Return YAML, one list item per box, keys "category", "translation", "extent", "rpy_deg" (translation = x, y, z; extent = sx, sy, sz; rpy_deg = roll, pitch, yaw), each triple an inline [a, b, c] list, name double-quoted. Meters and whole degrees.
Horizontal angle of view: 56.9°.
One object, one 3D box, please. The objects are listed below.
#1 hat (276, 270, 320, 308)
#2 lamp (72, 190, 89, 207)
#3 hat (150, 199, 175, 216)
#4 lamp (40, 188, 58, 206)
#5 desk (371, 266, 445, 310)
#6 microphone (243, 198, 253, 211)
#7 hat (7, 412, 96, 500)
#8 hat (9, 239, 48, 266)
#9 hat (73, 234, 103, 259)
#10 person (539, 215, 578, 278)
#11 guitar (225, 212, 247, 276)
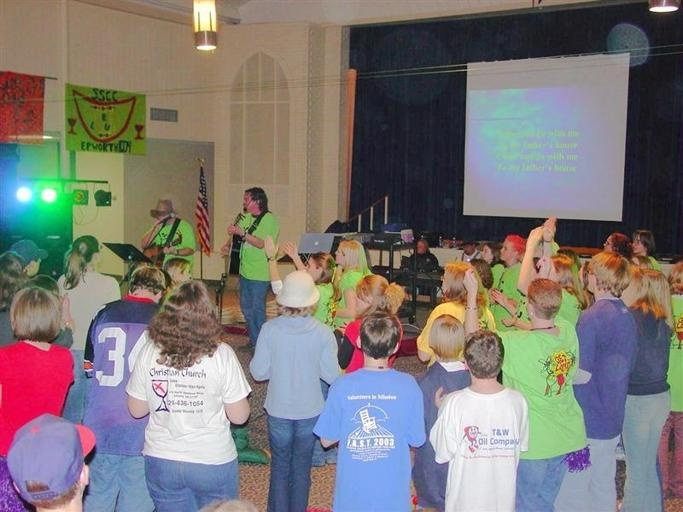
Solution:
- category: "hat"
  translation: [-0.342, 0.241, 4.620]
  extent: [0.297, 0.245, 0.290]
  rpy_deg: [2, 5, -8]
- category: "lamp"
  translation: [-4.883, -1.088, 11.726]
  extent: [0.210, 0.267, 1.287]
  rpy_deg: [1, 6, -19]
- category: "hat"
  translation: [-2.282, -0.603, 8.148]
  extent: [0.329, 0.183, 0.401]
  rpy_deg: [-1, 9, 7]
- category: "lamp"
  translation: [-4.996, -0.996, 10.704]
  extent: [0.216, 0.168, 0.240]
  rpy_deg: [2, 21, 6]
- category: "desk"
  translation: [1.339, 0.492, 11.773]
  extent: [0.967, 1.081, 0.841]
  rpy_deg: [-1, -2, 20]
- category: "microphone"
  translation: [-1.289, -0.682, 8.350]
  extent: [0.148, 0.172, 0.120]
  rpy_deg: [7, 1, 10]
- category: "hat"
  translation: [-1.374, 0.934, 3.072]
  extent: [0.250, 0.257, 0.455]
  rpy_deg: [1, 37, 4]
- category: "hat"
  translation: [-3.111, -0.032, 6.227]
  extent: [0.267, 0.226, 0.392]
  rpy_deg: [12, 18, 27]
- category: "hat"
  translation: [-2.073, -0.067, 5.086]
  extent: [0.207, 0.197, 0.201]
  rpy_deg: [-2, 7, -39]
- category: "person"
  translation: [2.675, -0.176, 7.784]
  extent: [0.318, 0.278, 1.003]
  rpy_deg: [39, 19, 15]
- category: "guitar"
  translation: [-1.845, -0.168, 10.798]
  extent: [0.307, 1.369, 0.698]
  rpy_deg: [4, 23, -4]
